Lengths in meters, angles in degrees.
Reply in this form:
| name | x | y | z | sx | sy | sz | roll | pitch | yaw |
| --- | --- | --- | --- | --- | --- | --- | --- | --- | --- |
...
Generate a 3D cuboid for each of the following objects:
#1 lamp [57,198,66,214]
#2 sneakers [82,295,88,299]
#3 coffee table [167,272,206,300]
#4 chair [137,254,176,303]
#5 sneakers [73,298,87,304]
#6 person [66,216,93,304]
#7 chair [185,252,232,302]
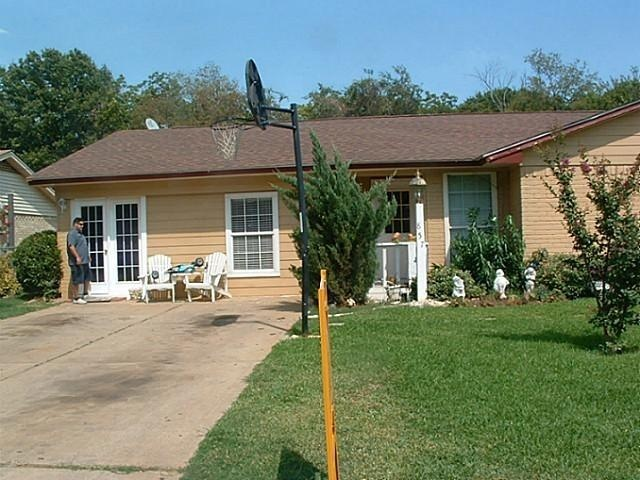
| name | x | y | z | sx | sy | sz | roll | pitch | yaw |
| --- | --- | --- | --- | --- | --- | --- | --- | --- | --- |
| lamp | -6.619 | -0.905 | 15.861 | 0.205 | 0.282 | 0.286 | 0 | -15 | -4 |
| sneakers | -5.926 | 1.453 | 15.547 | 0.077 | 0.107 | 0.146 | -8 | -5 | 15 |
| coffee table | -3.394 | 1.130 | 15.335 | 0.657 | 0.658 | 0.683 | -2 | -5 | 10 |
| chair | -4.148 | 0.904 | 15.429 | 0.817 | 1.146 | 1.200 | 0 | -3 | -10 |
| sneakers | -5.913 | 1.496 | 15.172 | 0.305 | 0.142 | 0.139 | 0 | 2 | 4 |
| person | -5.983 | 0.529 | 15.332 | 0.445 | 2.096 | 0.965 | -1 | -3 | -12 |
| chair | -2.949 | 0.897 | 15.172 | 0.982 | 1.239 | 1.230 | -1 | 7 | 21 |
